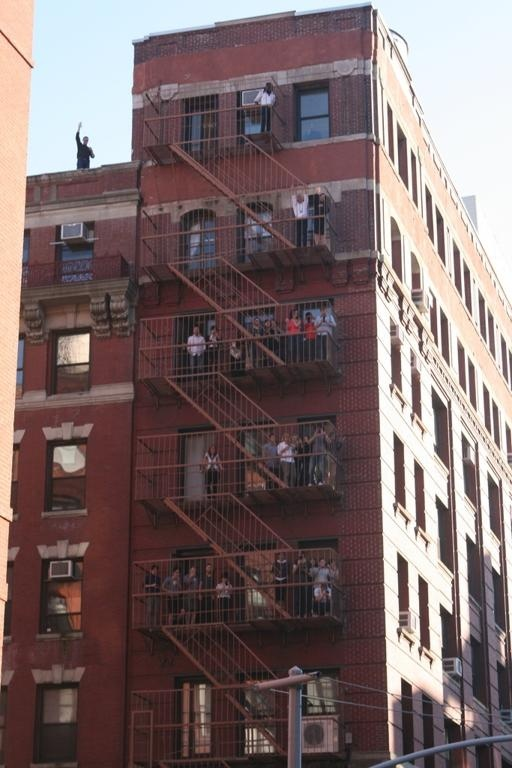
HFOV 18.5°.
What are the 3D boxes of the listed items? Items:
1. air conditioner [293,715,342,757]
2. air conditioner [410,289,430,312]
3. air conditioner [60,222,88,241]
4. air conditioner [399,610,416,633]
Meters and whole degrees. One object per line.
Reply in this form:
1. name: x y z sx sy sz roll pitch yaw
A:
1. air conditioner: 1.589 8.805 39.304 0.891 0.959 0.376 -1 -15 1
2. air conditioner: 5.324 -2.449 50.973 0.454 0.807 1.013 -2 -13 16
3. air conditioner: -5.598 -4.692 48.228 0.713 0.540 0.533 -6 -5 28
4. air conditioner: 4.103 6.512 42.969 0.402 0.761 1.304 -3 -19 7
